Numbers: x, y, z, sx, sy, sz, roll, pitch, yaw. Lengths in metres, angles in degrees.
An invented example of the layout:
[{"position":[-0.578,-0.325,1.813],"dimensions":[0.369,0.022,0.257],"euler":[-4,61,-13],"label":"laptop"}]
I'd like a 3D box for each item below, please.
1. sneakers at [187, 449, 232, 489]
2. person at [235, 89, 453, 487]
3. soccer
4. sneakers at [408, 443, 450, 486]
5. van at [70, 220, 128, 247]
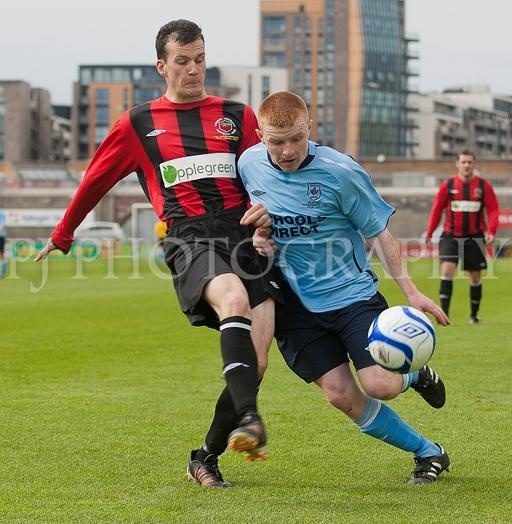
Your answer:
[{"position":[-0.253,1.079,5.366],"dimensions":[0.178,0.161,0.281],"euler":[-3,7,-22],"label":"sneakers"},{"position":[0.456,0.125,5.408],"dimensions":[1.100,2.024,0.597],"euler":[0,6,-2],"label":"person"},{"position":[0.708,0.416,5.218],"dimensions":[0.360,0.347,0.335],"euler":[3,-15,-3],"label":"soccer"},{"position":[0.922,1.084,5.437],"dimensions":[0.106,0.148,0.270],"euler":[-13,24,47],"label":"sneakers"},{"position":[-6.435,-1.206,41.232],"dimensions":[2.025,0.933,1.210],"euler":[4,1,-5],"label":"van"}]
